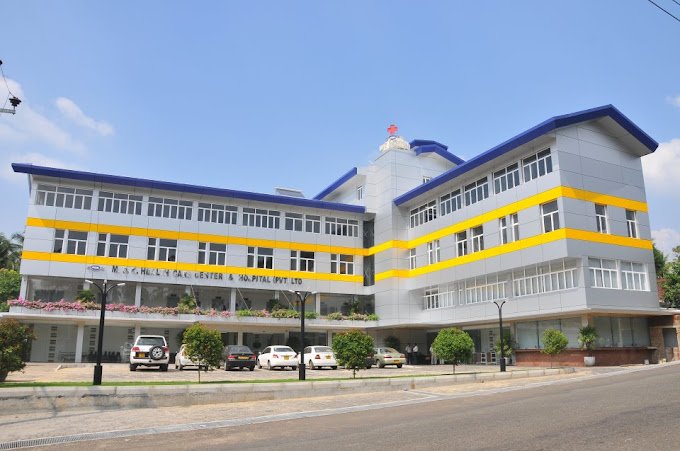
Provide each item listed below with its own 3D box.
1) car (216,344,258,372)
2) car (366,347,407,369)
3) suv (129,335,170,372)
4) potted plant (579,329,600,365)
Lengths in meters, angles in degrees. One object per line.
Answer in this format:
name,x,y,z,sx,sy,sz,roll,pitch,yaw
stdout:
car,-7.070,9.220,38.293,2.178,1.736,1.753,5,-18,-13
car,3.918,10.784,44.748,2.568,1.644,2.008,4,-18,-10
suv,-12.604,8.471,36.933,1.788,1.396,3.370,2,-6,-14
potted plant,18.124,8.729,39.914,1.242,2.855,1.059,-5,-19,16
